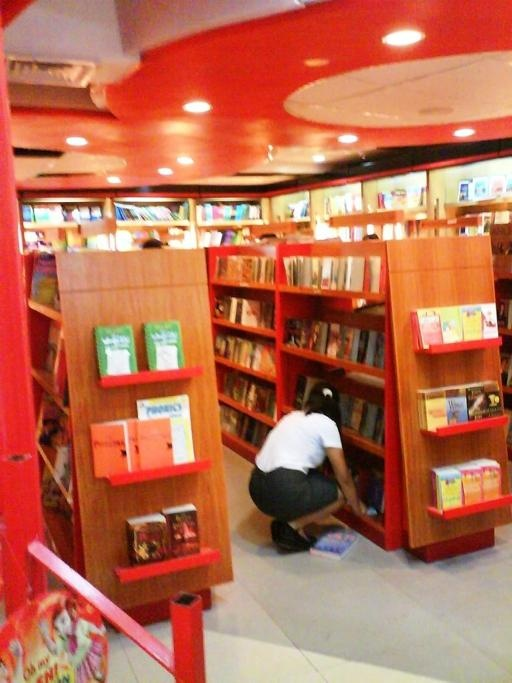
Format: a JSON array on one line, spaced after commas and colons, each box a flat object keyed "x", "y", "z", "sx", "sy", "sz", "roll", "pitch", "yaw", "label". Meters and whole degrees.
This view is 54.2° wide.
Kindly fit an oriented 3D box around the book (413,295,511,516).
[{"x": 1.155, "y": 0.350, "z": 2.776, "sx": 0.571, "sy": 1.111, "sz": 0.172, "roll": -5, "pitch": 4, "yaw": -28, "label": "book"}]

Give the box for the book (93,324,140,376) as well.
[{"x": -0.613, "y": 0.035, "z": 2.154, "sx": 0.200, "sy": 0.273, "sz": 0.037, "roll": -7, "pitch": -2, "yaw": -30, "label": "book"}]

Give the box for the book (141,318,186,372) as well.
[{"x": -0.425, "y": 0.017, "z": 2.235, "sx": 0.211, "sy": 0.282, "sz": 0.039, "roll": -7, "pitch": 0, "yaw": -30, "label": "book"}]

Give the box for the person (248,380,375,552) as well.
[{"x": 0.249, "y": 0.787, "z": 3.586, "sx": 0.924, "sy": 1.232, "sz": 0.909, "roll": -3, "pitch": 7, "yaw": -34, "label": "person"}]

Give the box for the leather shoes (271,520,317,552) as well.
[{"x": 0.269, "y": 1.203, "z": 3.126, "sx": 0.362, "sy": 0.151, "sz": 0.124, "roll": 3, "pitch": 1, "yaw": -27, "label": "leather shoes"}]

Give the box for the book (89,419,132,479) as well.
[{"x": -0.612, "y": 0.449, "z": 2.122, "sx": 0.216, "sy": 0.224, "sz": 0.053, "roll": 0, "pitch": -1, "yaw": -18, "label": "book"}]
